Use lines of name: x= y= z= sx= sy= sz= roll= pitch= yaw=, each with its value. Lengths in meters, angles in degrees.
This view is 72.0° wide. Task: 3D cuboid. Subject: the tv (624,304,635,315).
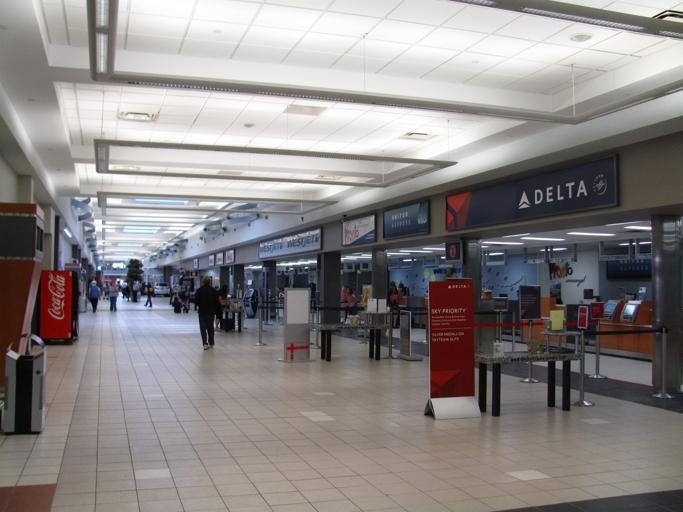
tv: x=8.884 y=1.630 z=14.456 sx=0.205 sy=0.384 sz=0.405 roll=0 pitch=-3 yaw=-13

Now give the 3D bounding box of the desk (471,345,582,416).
desk: x=2.877 y=1.983 z=7.400 sx=1.484 sy=0.804 sz=0.846 roll=0 pitch=-7 yaw=-3

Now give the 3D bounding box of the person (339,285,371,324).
person: x=0.491 y=1.925 z=18.673 sx=1.086 sy=0.875 sz=1.914 roll=3 pitch=-6 yaw=-15

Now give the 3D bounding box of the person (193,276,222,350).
person: x=-4.169 y=1.713 z=14.532 sx=0.692 sy=2.193 sz=1.512 roll=0 pitch=-3 yaw=-18

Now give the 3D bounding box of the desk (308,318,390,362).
desk: x=0.267 y=2.153 z=12.916 sx=2.051 sy=1.196 sz=1.182 roll=-1 pitch=-4 yaw=3

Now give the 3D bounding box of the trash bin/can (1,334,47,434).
trash bin/can: x=-3.895 y=1.572 z=5.751 sx=0.431 sy=1.171 sz=0.311 roll=1 pitch=-3 yaw=-34
